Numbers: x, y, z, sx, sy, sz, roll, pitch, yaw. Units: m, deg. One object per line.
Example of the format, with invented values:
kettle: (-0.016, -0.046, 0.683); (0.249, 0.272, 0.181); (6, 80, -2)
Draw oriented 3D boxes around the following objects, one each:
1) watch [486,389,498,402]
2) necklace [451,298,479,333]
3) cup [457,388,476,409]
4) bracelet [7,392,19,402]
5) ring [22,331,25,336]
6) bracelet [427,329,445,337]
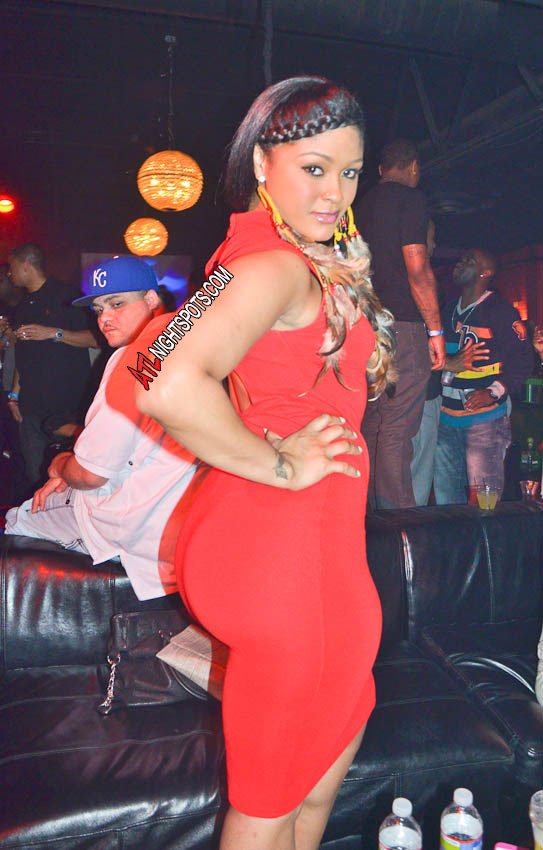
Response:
watch: (1.194, -0.157, 3.832); (0.026, 0.056, 0.064); (-35, 97, 17)
necklace: (1.122, -0.633, 4.098); (0.108, 0.100, 0.177); (9, 93, 33)
cup: (1.064, -0.137, 3.838); (0.042, 0.080, 0.100); (2, 97, -21)
bracelet: (-1.724, -0.184, 4.723); (0.073, 0.069, 0.062); (4, 100, 11)
ring: (-1.519, -0.552, 4.348); (0.025, 0.007, 0.022); (1, 98, 2)
bracelet: (0.718, -0.402, 3.106); (0.074, 0.082, 0.039); (-1, 92, 0)
